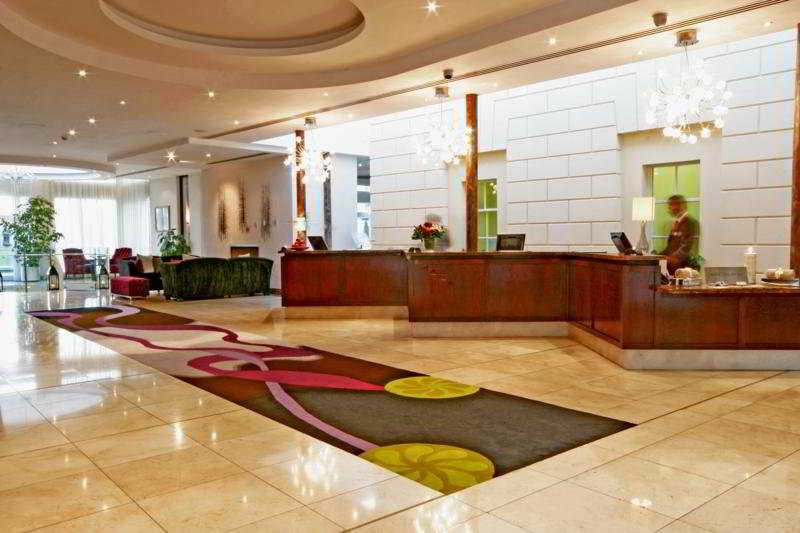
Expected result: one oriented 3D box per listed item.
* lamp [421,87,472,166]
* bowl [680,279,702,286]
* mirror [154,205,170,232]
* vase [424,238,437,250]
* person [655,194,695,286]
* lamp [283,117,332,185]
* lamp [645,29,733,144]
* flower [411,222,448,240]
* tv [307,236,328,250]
[{"bbox_3d":[0.825,-2.788,10.103,1.066,1.418,0.945,4,19,7],"label":"lamp"},{"bbox_3d":[3.664,0.198,6.381,0.308,0.093,0.053,-3,7,-20],"label":"bowl"},{"bbox_3d":[-9.259,-1.894,20.006,0.141,1.076,1.270,0,0,-45],"label":"mirror"},{"bbox_3d":[0.554,-0.412,9.098,0.293,0.243,0.278,0,-5,3],"label":"vase"},{"bbox_3d":[4.060,-0.455,7.424,0.409,1.148,0.999,2,7,26],"label":"person"},{"bbox_3d":[-2.064,-2.810,11.935,1.102,1.365,1.022,-9,23,-21],"label":"lamp"},{"bbox_3d":[4.681,-3.030,8.365,1.341,1.493,1.216,-14,23,-16],"label":"lamp"},{"bbox_3d":[0.566,-0.605,9.183,0.533,0.307,0.500,-2,0,14],"label":"flower"},{"bbox_3d":[-1.682,-0.513,10.884,0.515,0.300,0.111,1,5,14],"label":"tv"}]
